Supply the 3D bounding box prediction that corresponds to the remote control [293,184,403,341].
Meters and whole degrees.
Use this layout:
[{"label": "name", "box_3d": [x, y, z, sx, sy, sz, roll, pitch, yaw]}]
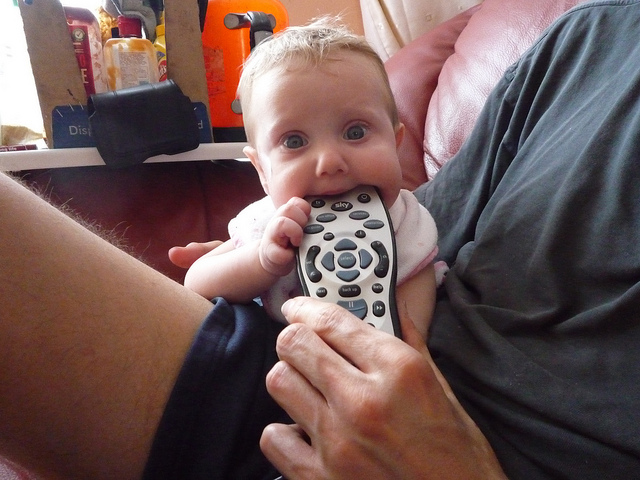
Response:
[{"label": "remote control", "box_3d": [0.038, 0.031, 0.785, 0.141, 0.047, 0.280, 2, 47, 1]}]
